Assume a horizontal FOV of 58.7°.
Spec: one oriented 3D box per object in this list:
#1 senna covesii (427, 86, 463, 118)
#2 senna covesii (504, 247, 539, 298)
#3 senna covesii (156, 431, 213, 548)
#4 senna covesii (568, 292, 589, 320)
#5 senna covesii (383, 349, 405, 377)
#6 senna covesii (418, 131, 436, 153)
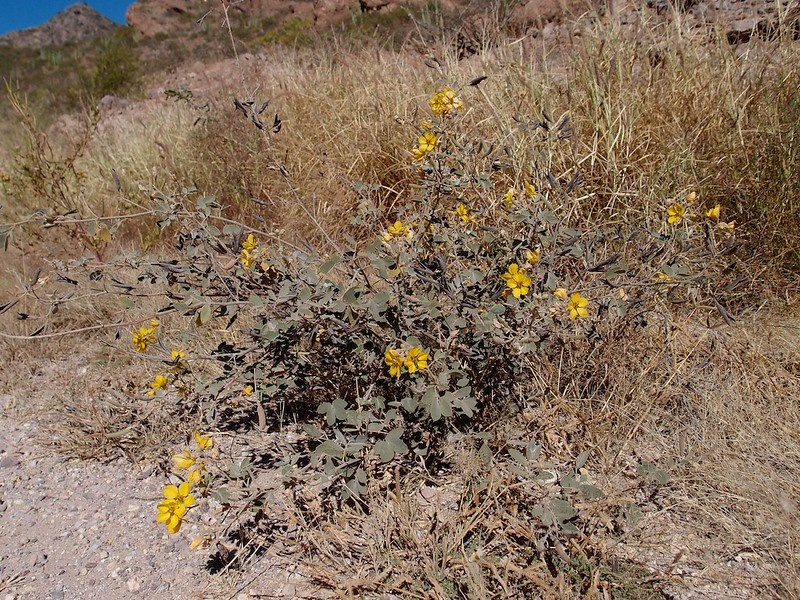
[{"bbox_3d":[0.212,-0.941,3.440,0.206,0.071,0.224,1,96,4],"label":"senna covesii"},{"bbox_3d":[0.551,-0.125,3.221,0.140,0.078,0.258,15,91,16],"label":"senna covesii"},{"bbox_3d":[-0.985,0.891,3.247,0.223,0.165,0.481,14,83,32],"label":"senna covesii"},{"bbox_3d":[0.801,0.029,3.218,0.108,0.037,0.116,-9,66,4],"label":"senna covesii"},{"bbox_3d":[-0.036,0.265,3.102,0.054,0.107,0.107,-22,47,-35],"label":"senna covesii"},{"bbox_3d":[0.139,-0.743,3.396,0.101,0.031,0.107,21,102,35],"label":"senna covesii"}]
